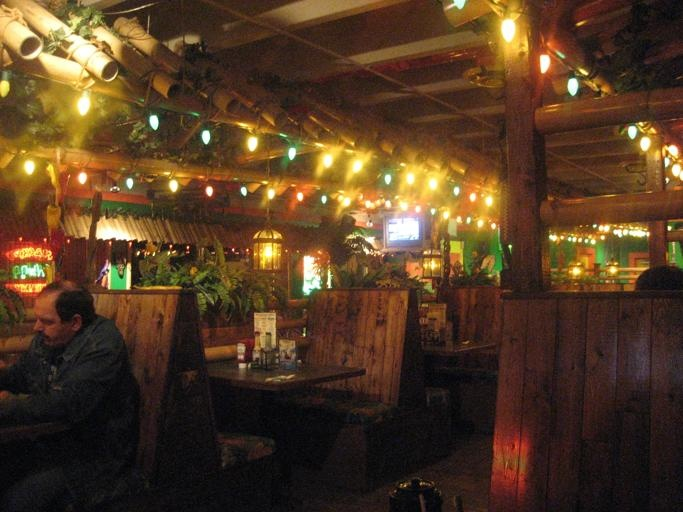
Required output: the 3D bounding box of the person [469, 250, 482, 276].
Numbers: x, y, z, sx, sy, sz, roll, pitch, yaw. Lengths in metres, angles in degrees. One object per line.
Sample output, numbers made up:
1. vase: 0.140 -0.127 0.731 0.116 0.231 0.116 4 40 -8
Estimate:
1. person: 2.216 0.112 10.150 0.181 0.492 1.120 2 -5 12
